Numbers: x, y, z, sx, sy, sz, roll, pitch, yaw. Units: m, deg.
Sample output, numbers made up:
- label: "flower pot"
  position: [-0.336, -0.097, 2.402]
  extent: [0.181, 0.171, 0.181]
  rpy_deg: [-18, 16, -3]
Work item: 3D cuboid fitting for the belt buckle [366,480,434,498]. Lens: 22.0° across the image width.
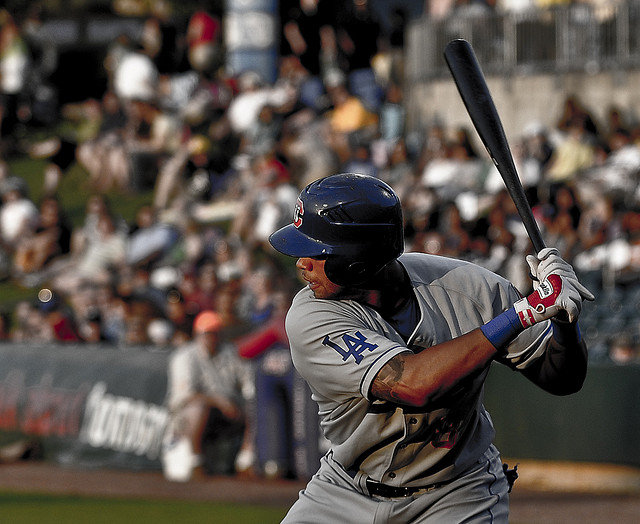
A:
- label: "belt buckle"
  position: [0.500, 1.600, 11.397]
  extent: [0.236, 0.090, 0.213]
  rpy_deg: [7, -3, 25]
